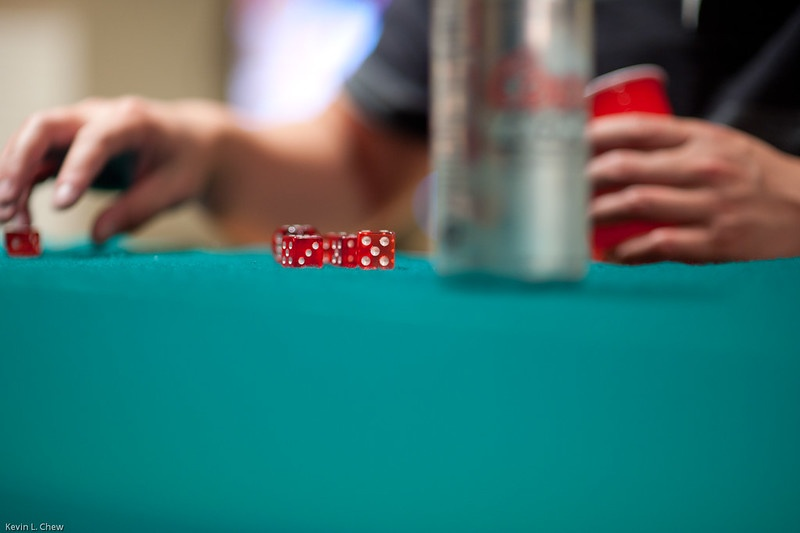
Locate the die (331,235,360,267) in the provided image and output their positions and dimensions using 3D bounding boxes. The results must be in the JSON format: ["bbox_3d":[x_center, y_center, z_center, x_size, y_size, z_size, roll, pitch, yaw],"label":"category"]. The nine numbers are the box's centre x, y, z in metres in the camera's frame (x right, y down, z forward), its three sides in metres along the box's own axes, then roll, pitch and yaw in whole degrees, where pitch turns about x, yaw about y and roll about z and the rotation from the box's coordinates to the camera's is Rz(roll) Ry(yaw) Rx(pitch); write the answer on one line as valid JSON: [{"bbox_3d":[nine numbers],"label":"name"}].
[{"bbox_3d":[-0.113,-0.031,1.635,0.062,0.062,0.063,1,-3,-5],"label":"die"}]

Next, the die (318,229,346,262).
[{"bbox_3d":[-0.143,-0.047,1.644,0.054,0.052,0.052,2,-6,-10],"label":"die"}]

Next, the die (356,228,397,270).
[{"bbox_3d":[-0.049,-0.033,1.599,0.076,0.078,0.076,0,-1,-9],"label":"die"}]

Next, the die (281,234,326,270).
[{"bbox_3d":[-0.198,-0.028,1.594,0.071,0.052,0.069,1,-2,-38],"label":"die"}]

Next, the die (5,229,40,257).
[{"bbox_3d":[-0.784,-0.045,1.628,0.060,0.059,0.038,-2,15,0],"label":"die"}]
